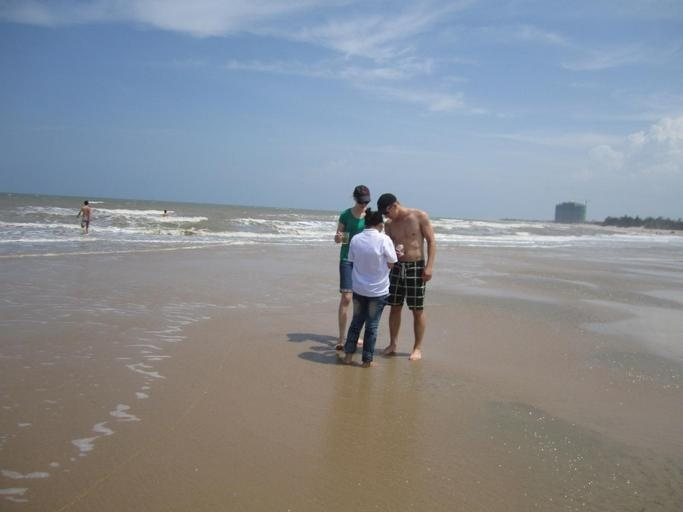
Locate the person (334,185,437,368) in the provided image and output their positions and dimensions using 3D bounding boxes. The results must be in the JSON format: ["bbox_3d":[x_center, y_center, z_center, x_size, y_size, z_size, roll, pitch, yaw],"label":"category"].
[{"bbox_3d":[0.797,0.243,6.963,0.704,2.141,0.803,5,15,9],"label":"person"}]

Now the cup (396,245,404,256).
[{"bbox_3d":[0.737,-0.067,6.846,0.097,0.137,0.101,2,15,-1],"label":"cup"}]

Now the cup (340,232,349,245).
[{"bbox_3d":[0.050,-0.229,7.001,0.147,0.145,0.091,0,6,-4],"label":"cup"}]
